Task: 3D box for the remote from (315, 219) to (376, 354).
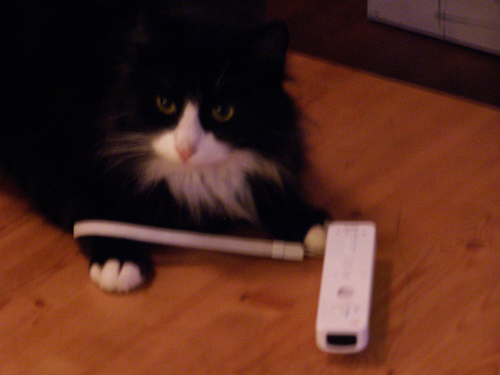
[{"bbox_3d":[0.161,0.159,0.863,0.078,0.055,0.229,-3,37,18],"label":"remote"}]
